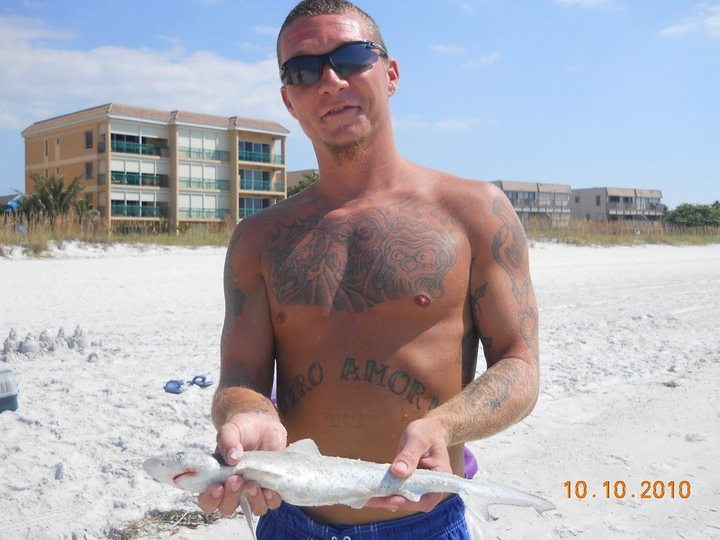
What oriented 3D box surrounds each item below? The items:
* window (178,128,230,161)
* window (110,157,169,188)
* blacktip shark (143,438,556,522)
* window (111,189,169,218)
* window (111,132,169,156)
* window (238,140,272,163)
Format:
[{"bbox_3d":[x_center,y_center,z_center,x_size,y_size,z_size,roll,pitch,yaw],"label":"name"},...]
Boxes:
[{"bbox_3d":[-10.780,-8.179,46.186,0.322,3.138,5.036,8,9,30],"label":"window"},{"bbox_3d":[-14.476,-6.283,44.099,0.468,1.937,4.061,12,18,38],"label":"window"},{"bbox_3d":[-0.047,1.150,3.771,2.233,0.476,0.412,4,-15,-6],"label":"blacktip shark"},{"bbox_3d":[-14.512,-4.305,44.242,0.615,2.088,4.097,11,18,36],"label":"window"},{"bbox_3d":[-14.472,-8.142,43.865,0.506,1.523,3.952,11,18,36],"label":"window"},{"bbox_3d":[-7.652,-8.486,48.337,0.258,1.154,1.807,-18,-17,38],"label":"window"}]
